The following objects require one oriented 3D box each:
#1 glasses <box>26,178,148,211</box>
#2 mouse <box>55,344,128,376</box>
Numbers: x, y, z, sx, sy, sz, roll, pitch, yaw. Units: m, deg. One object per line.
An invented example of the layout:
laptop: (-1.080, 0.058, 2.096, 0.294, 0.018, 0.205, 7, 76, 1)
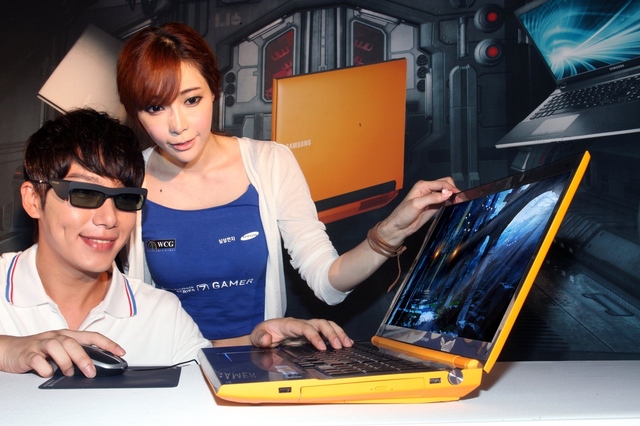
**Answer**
glasses: (-0.806, -0.060, 1.619, 0.389, 0.116, 0.150, -1, 7, -15)
mouse: (-0.624, 0.392, 1.276, 0.154, 0.047, 0.087, 2, 6, -9)
